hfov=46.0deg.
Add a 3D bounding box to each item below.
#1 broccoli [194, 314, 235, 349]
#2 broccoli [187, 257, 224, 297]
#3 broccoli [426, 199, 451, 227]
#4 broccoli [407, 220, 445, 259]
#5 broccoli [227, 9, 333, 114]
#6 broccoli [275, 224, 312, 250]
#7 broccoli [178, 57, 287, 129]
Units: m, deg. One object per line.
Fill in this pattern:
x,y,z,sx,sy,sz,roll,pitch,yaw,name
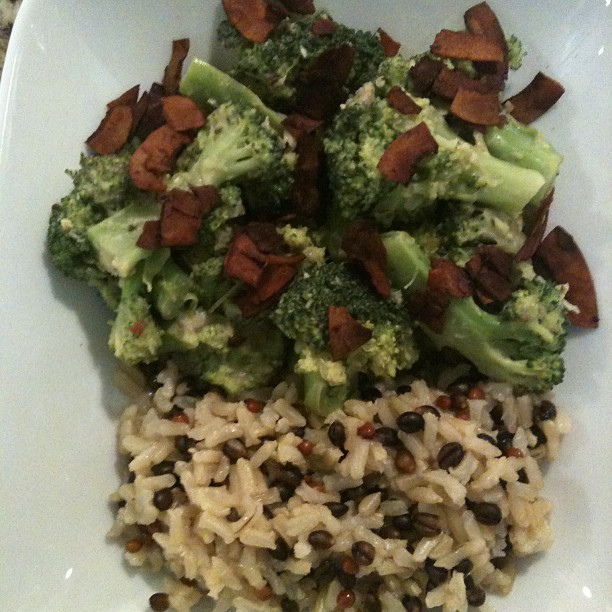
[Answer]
-0.307,0.083,2.482,0.115,0.077,0.125,34,67,6,broccoli
-0.340,-0.100,2.411,0.109,0.132,0.043,14,25,3,broccoli
0.464,-0.323,2.498,0.029,0.072,0.084,16,107,-21,broccoli
0.424,-0.233,2.502,0.128,0.035,0.120,-22,83,13,broccoli
-0.098,-0.841,2.560,0.307,0.173,0.364,41,103,-6,broccoli
-0.044,-0.237,2.469,0.111,0.037,0.089,-17,69,-16,broccoli
-0.274,-0.720,2.485,0.402,0.107,0.167,23,93,0,broccoli
